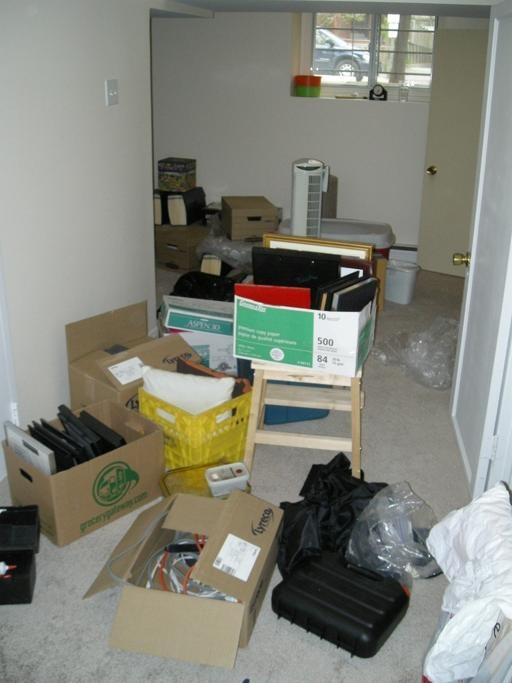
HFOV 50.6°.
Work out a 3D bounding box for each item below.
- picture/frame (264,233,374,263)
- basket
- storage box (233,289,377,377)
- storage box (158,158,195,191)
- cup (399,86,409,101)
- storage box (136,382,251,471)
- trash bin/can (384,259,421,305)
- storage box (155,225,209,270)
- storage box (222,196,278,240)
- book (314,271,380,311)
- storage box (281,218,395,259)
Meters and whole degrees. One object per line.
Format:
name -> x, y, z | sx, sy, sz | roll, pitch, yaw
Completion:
picture/frame -> 0.220, -0.343, 2.028 | 0.422, 0.073, 0.186 | 6, 21, 12
basket -> -0.238, 0.322, 2.223 | 0.379, 0.268, 0.375 | -21, 33, -38
storage box -> 0.174, -0.066, 1.945 | 0.433, 0.224, 0.311 | 9, 30, 16
storage box -> -0.706, -1.469, 4.900 | 0.325, 0.238, 0.330 | 2, 30, 4
cup -> 1.399, -2.335, 5.113 | 0.076, 0.112, 0.052 | 1, 21, 0
storage box -> -0.240, 0.323, 2.263 | 0.384, 0.258, 0.380 | -16, 29, -34
trash bin/can -> 1.200, -0.518, 4.575 | 0.308, 0.281, 0.351 | 16, 26, 25
storage box -> -0.678, -0.846, 4.899 | 0.423, 0.264, 0.424 | 12, 32, 12
storage box -> -0.076, -1.055, 4.701 | 0.550, 0.243, 0.554 | 14, 25, 20
book -> 0.306, -0.168, 1.890 | 0.165, 0.116, 0.282 | 12, 23, 27
storage box -> 0.719, -0.918, 4.620 | 0.867, 0.300, 0.706 | 2, 23, 6
